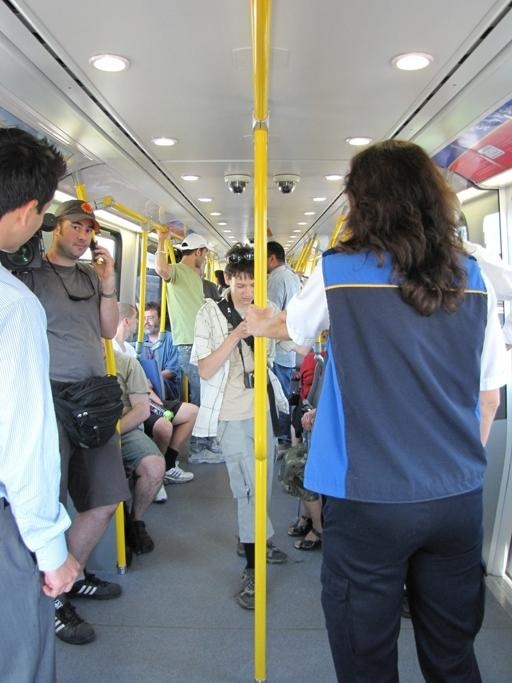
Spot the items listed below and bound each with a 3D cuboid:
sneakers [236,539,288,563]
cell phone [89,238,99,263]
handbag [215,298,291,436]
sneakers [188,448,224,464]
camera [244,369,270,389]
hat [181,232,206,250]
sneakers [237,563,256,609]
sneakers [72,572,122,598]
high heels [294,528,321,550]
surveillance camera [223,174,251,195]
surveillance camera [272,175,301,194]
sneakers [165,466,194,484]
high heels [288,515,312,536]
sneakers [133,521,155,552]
[{"bbox_3d":[0.031,1.376,3.434,0.132,0.151,0.356,3,-9,-42],"label":"sneakers"},{"bbox_3d":[-0.969,-0.540,3.049,0.041,0.159,0.044,-6,-14,25],"label":"cell phone"},{"bbox_3d":[-0.034,0.075,2.988,0.244,0.985,0.264,-14,4,9],"label":"handbag"},{"bbox_3d":[-0.550,1.265,5.723,0.463,0.207,0.153,-1,-5,-4],"label":"sneakers"},{"bbox_3d":[0.006,0.220,2.904,0.101,0.184,0.133,-3,2,9],"label":"camera"},{"bbox_3d":[-0.726,-1.187,6.001,0.250,0.140,0.184,-12,19,-33],"label":"hat"},{"bbox_3d":[-0.051,1.378,2.852,0.080,0.082,0.198,1,4,4],"label":"sneakers"},{"bbox_3d":[-0.860,1.407,2.962,0.339,0.152,0.118,1,9,-1],"label":"sneakers"},{"bbox_3d":[0.362,1.362,3.520,0.087,0.099,0.265,-7,-16,25],"label":"high heels"},{"bbox_3d":[-0.143,-1.205,3.918,0.147,0.109,0.146,-1,14,7],"label":"surveillance camera"},{"bbox_3d":[0.238,-1.222,3.945,0.122,0.088,0.121,-1,-1,5],"label":"surveillance camera"},{"bbox_3d":[-0.731,1.316,5.044,0.322,0.155,0.116,1,3,-10],"label":"sneakers"},{"bbox_3d":[0.328,1.352,3.757,0.083,0.083,0.229,-7,-10,20],"label":"high heels"},{"bbox_3d":[-0.782,1.345,3.565,0.133,0.187,0.204,-2,3,-13],"label":"sneakers"}]
